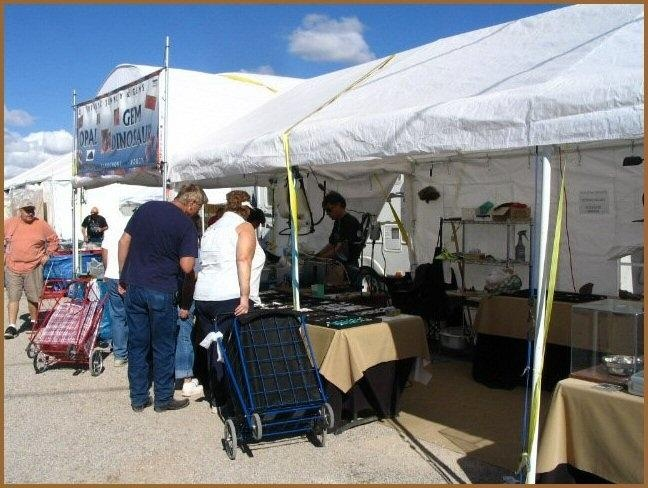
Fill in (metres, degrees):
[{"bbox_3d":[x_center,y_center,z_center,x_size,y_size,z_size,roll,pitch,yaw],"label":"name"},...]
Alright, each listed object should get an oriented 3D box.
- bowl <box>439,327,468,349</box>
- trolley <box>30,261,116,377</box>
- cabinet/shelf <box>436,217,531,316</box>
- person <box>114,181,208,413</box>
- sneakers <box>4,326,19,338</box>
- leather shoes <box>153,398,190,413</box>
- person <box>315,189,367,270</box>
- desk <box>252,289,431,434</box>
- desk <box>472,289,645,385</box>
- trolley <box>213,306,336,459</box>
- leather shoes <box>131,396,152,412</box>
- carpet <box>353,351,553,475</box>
[{"bbox_3d":[1.770,1.303,7.421,0.355,0.252,0.309,1,7,14],"label":"bowl"},{"bbox_3d":[-3.042,1.004,6.604,0.787,1.067,1.078,4,5,2],"label":"trolley"},{"bbox_3d":[2.243,0.325,7.495,0.479,1.595,1.291,3,-3,-36],"label":"cabinet/shelf"},{"bbox_3d":[-1.664,0.503,5.427,0.820,2.238,0.731,5,6,3],"label":"person"},{"bbox_3d":[-4.600,1.325,8.050,0.096,0.145,0.306,0,-10,-5],"label":"sneakers"},{"bbox_3d":[-1.521,1.597,5.461,0.318,0.152,0.120,-5,5,-32],"label":"leather shoes"},{"bbox_3d":[0.168,-0.179,7.629,0.709,1.092,0.749,-6,5,-3],"label":"person"},{"bbox_3d":[0.374,1.067,5.171,0.949,0.666,1.168,2,-2,-33],"label":"desk"},{"bbox_3d":[2.501,1.082,6.269,1.212,0.817,1.228,0,-3,44],"label":"desk"},{"bbox_3d":[-0.465,1.176,4.831,0.824,1.115,0.751,6,-31,-37],"label":"trolley"},{"bbox_3d":[-1.812,1.605,5.448,0.085,0.103,0.224,3,6,19],"label":"leather shoes"},{"bbox_3d":[1.519,1.649,5.416,1.265,0.025,1.434,16,17,31],"label":"carpet"}]
